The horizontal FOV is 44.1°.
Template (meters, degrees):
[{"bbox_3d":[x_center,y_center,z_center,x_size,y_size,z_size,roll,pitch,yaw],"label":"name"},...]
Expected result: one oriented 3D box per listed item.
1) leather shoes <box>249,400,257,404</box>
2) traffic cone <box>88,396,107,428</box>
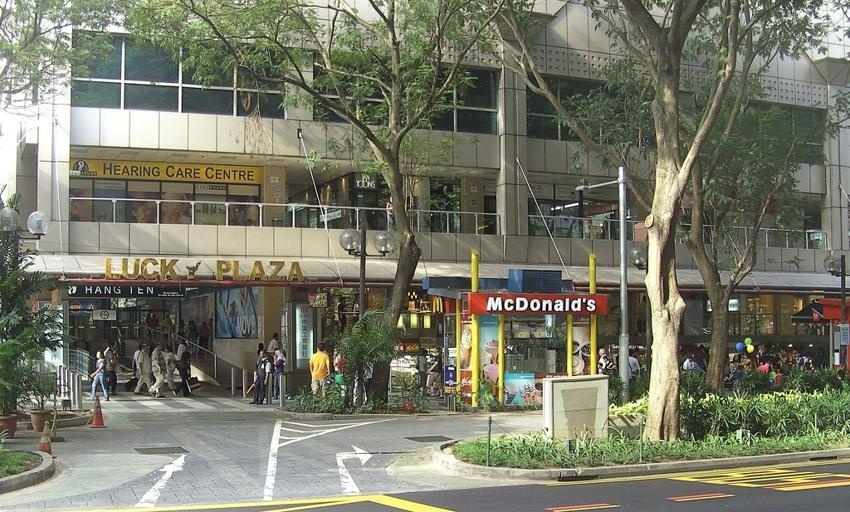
[{"bbox_3d":[-7.254,6.140,44.135,0.404,0.173,0.141,0,-6,29],"label":"leather shoes"},{"bbox_3d":[-12.055,5.754,38.536,0.858,1.312,0.926,2,-6,-21],"label":"traffic cone"}]
